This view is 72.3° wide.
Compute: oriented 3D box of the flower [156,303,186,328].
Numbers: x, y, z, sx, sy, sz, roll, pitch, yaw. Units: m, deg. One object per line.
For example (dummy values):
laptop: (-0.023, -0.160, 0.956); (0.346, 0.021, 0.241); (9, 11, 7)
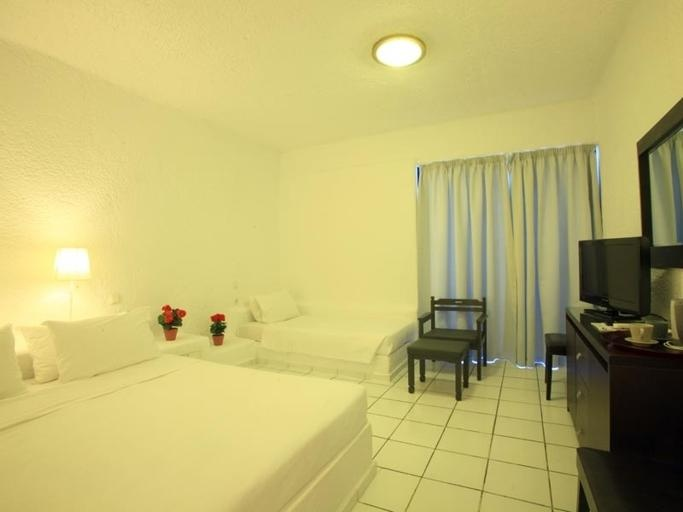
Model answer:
flower: (-1.735, 0.607, 4.751); (0.237, 0.179, 0.240); (7, -5, -20)

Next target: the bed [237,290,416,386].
bed: (-0.145, 0.939, 5.402); (1.501, 0.653, 1.054); (-1, 1, 24)

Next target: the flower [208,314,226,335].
flower: (-1.359, 0.754, 5.206); (0.203, 0.218, 0.208); (-5, -5, 40)

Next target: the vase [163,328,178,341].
vase: (-1.707, 0.770, 4.633); (0.129, 0.104, 0.108); (6, -10, -43)

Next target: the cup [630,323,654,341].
cup: (1.853, 0.464, 2.875); (0.095, 0.087, 0.114); (-3, -9, 33)

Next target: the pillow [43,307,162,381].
pillow: (-1.945, 0.736, 3.712); (0.856, 0.592, 0.247); (-4, 6, -5)

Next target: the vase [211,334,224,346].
vase: (-1.386, 0.906, 5.184); (0.107, 0.116, 0.140); (-4, -4, 40)

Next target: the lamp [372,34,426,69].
lamp: (0.485, -1.744, 3.965); (0.455, 0.174, 0.378); (-1, 11, 4)

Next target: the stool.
stool: (0.974, 1.067, 4.635); (0.553, 0.498, 0.567); (3, 12, 23)

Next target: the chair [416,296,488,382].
chair: (1.217, 0.876, 5.097); (0.652, 0.872, 0.494); (0, 4, 22)
